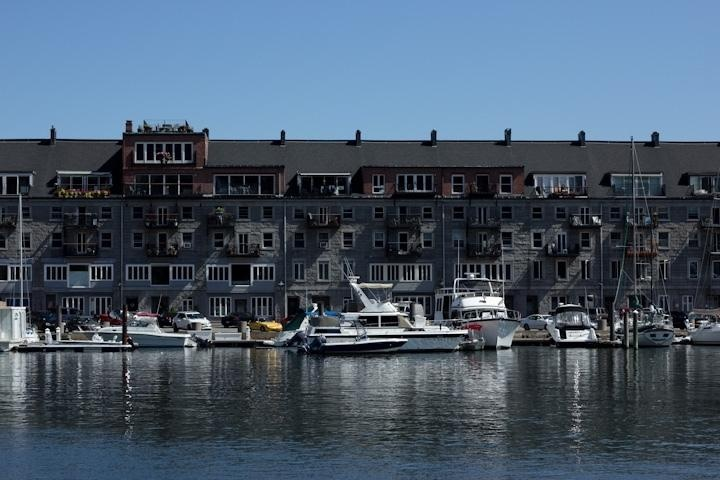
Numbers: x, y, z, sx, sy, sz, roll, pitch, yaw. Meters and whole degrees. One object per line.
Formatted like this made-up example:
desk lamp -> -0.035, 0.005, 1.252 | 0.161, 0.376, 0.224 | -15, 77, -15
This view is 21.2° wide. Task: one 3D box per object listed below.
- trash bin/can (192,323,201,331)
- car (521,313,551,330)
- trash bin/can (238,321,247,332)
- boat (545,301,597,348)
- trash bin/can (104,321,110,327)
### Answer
trash bin/can -> -15.844, 8.502, 186.105 | 0.809, 0.644, 0.769 | 1, 1, 27
car -> 17.184, 8.266, 189.245 | 3.129, 0.915, 1.537 | -7, -8, 39
trash bin/can -> -11.341, 8.456, 184.851 | 1.064, 1.332, 0.942 | 0, -5, -3
boat -> 19.807, 8.289, 181.723 | 4.311, 3.091, 8.717 | 0, -3, -2
trash bin/can -> -23.742, 8.015, 180.344 | 0.487, 0.406, 0.820 | 1, -3, -3
